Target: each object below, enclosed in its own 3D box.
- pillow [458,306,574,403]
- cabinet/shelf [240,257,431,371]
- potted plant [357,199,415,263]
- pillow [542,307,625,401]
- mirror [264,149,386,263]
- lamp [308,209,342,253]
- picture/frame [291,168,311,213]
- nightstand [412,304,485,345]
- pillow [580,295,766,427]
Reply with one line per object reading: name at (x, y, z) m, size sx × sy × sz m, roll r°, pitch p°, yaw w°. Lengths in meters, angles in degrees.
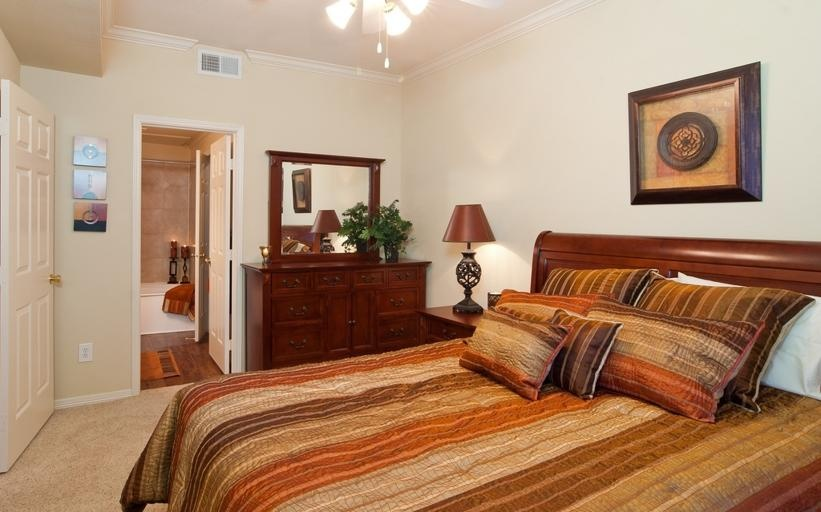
pillow at (0.655, 0.578, 3.069) m, size 0.185 × 0.440 × 0.586 m, roll 37°, pitch -11°, yaw -27°
cabinet/shelf at (-0.721, 0.579, 5.304) m, size 1.811 × 1.032 × 0.552 m, roll -2°, pitch 5°, yaw -29°
potted plant at (-0.303, -0.229, 5.647) m, size 0.654 × 0.637 × 0.738 m, roll 5°, pitch -14°, yaw 23°
pillow at (1.021, 0.594, 2.992) m, size 0.131 × 0.414 × 0.426 m, roll 30°, pitch -9°, yaw -37°
mirror at (-0.972, -0.514, 5.432) m, size 1.304 × 1.120 × 0.257 m, roll 1°, pitch -2°, yaw -33°
lamp at (-0.930, -0.284, 5.487) m, size 0.409 × 0.645 × 0.438 m, roll -2°, pitch 7°, yaw -16°
picture/frame at (-1.154, -0.689, 5.386) m, size 0.300 × 0.477 × 0.047 m, roll 2°, pitch 7°, yaw 40°
nightstand at (0.306, 0.592, 4.320) m, size 0.321 × 0.398 × 0.445 m, roll -1°, pitch 2°, yaw -35°
pillow at (1.458, 0.590, 2.923) m, size 0.840 × 0.492 × 0.386 m, roll 8°, pitch 11°, yaw 35°
